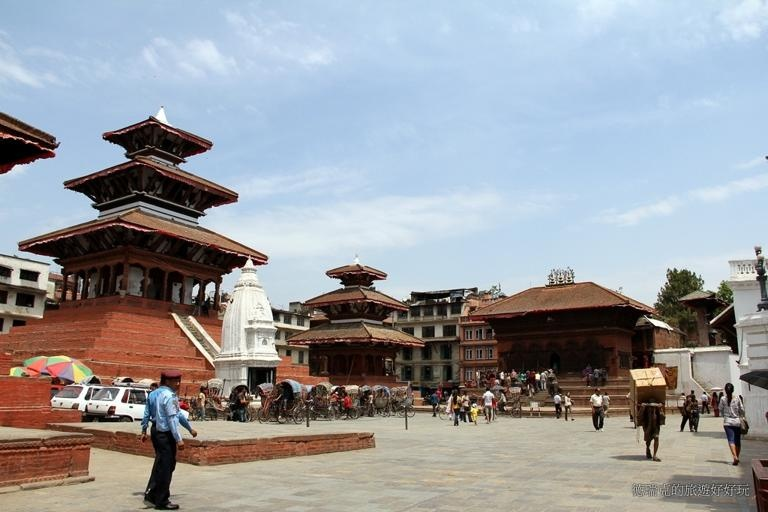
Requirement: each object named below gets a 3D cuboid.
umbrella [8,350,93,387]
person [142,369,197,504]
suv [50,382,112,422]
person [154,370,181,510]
[{"bbox_3d":[-12.963,4.509,21.242,2.641,1.020,1.518,4,-13,-20],"label":"umbrella"},{"bbox_3d":[-4.081,3.618,10.532,0.994,2.205,1.317,-5,-8,42],"label":"person"},{"bbox_3d":[-11.242,5.387,19.748,1.402,1.354,2.502,-1,-4,-5],"label":"suv"},{"bbox_3d":[-4.207,3.537,10.481,0.553,2.502,0.804,5,-14,-21],"label":"person"}]
